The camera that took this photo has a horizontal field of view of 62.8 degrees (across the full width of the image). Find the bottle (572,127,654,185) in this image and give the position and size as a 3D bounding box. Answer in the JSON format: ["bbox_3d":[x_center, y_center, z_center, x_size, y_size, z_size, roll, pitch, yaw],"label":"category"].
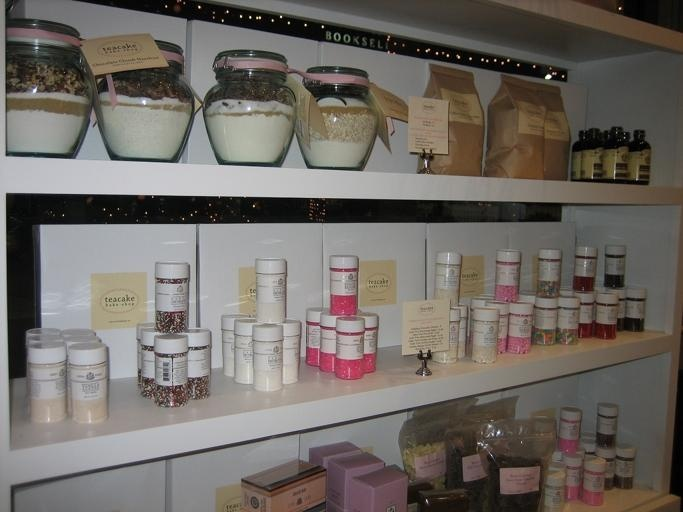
[{"bbox_3d":[0.901,-0.319,1.901,0.262,0.217,0.191,-3,9,-35],"label":"bottle"}]

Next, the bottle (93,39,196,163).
[{"bbox_3d":[-0.422,-0.319,1.333,0.241,0.289,0.246,3,-3,-31],"label":"bottle"}]

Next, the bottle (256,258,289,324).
[{"bbox_3d":[-0.174,0.087,1.375,0.077,0.159,0.035,-4,3,-10],"label":"bottle"}]

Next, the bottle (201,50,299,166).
[{"bbox_3d":[-0.184,-0.314,1.344,0.252,0.300,0.244,0,-3,-2],"label":"bottle"}]
